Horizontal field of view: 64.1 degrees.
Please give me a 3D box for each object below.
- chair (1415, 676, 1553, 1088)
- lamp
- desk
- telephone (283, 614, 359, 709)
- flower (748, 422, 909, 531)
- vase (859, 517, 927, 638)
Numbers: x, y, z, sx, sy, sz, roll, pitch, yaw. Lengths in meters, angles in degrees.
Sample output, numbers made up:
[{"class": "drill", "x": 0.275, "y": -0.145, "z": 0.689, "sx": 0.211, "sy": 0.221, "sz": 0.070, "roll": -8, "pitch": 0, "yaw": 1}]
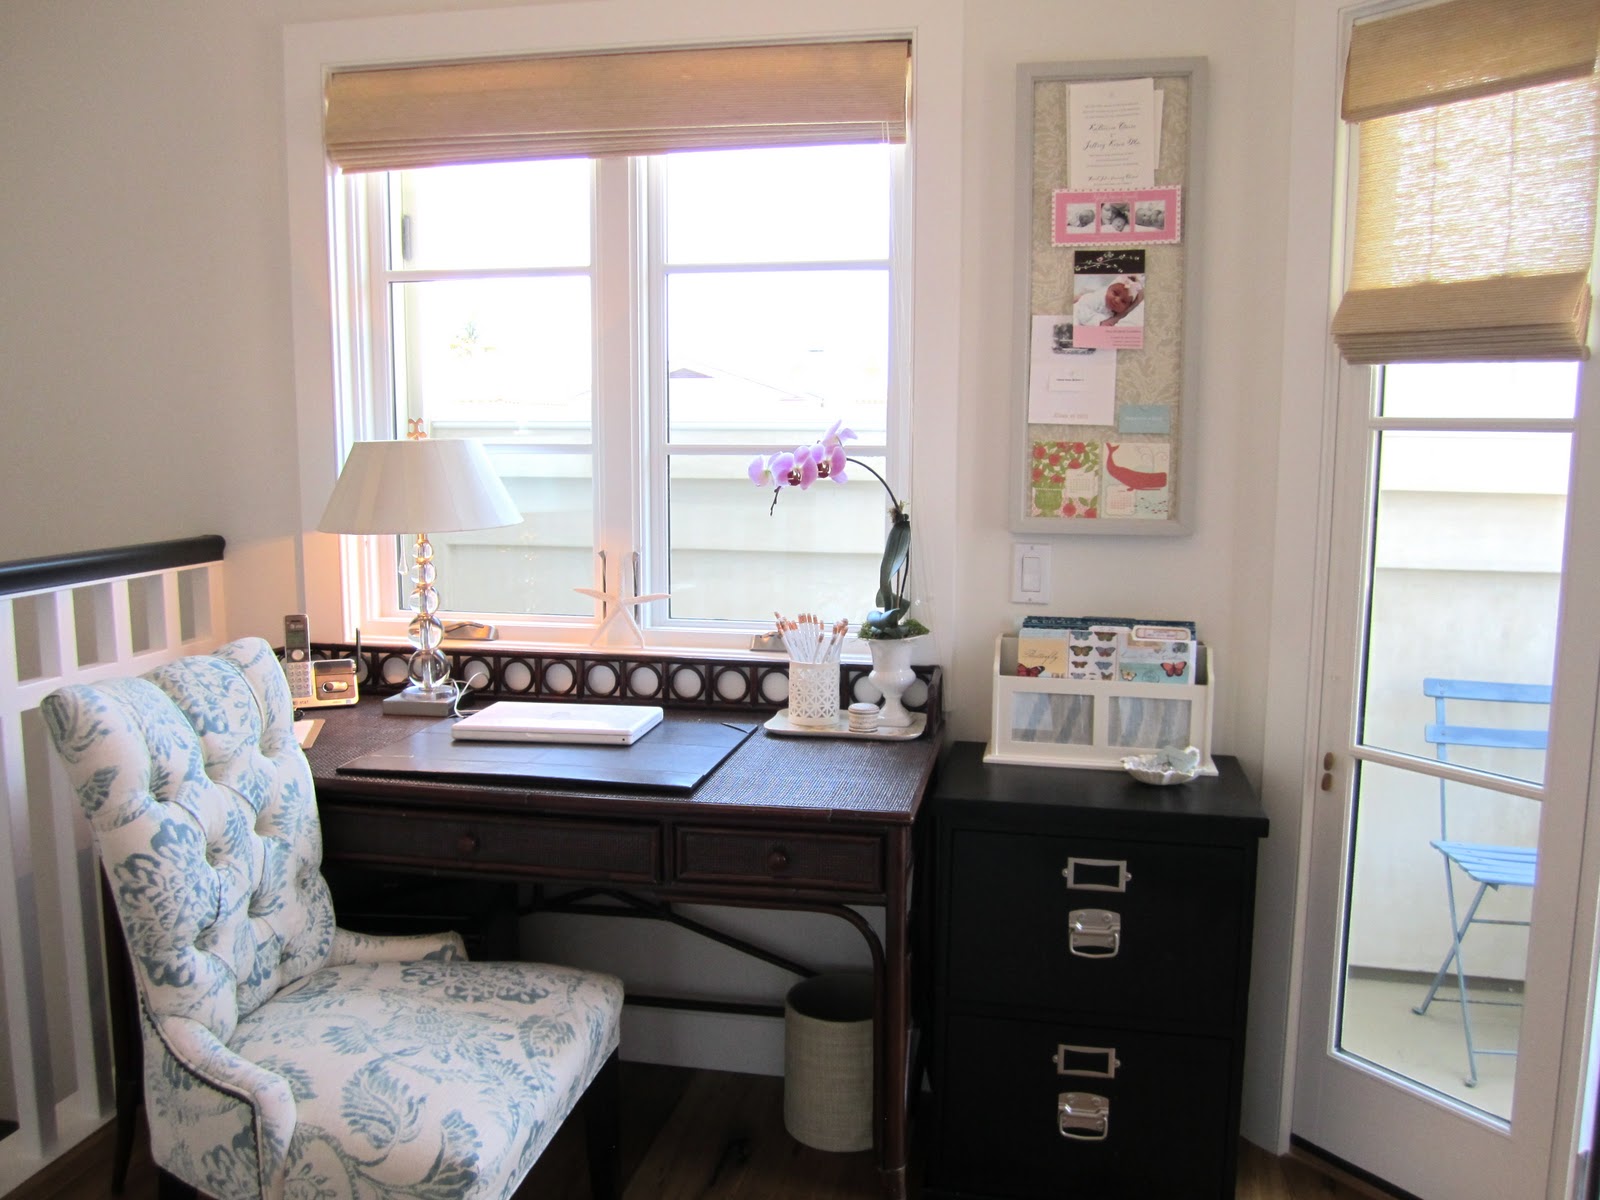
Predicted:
[{"class": "chair", "x": 1.369, "y": 0.574, "z": 2.598, "sx": 0.224, "sy": 0.837, "sz": 0.104, "roll": 4, "pitch": 10, "yaw": 34}, {"class": "lamp", "x": -0.902, "y": -0.036, "z": 3.048, "sx": 0.460, "sy": 0.624, "sz": 0.453, "roll": 0, "pitch": -5, "yaw": -13}, {"class": "desk", "x": -0.311, "y": 0.600, "z": 2.980, "sx": 1.841, "sy": 1.235, "sz": 0.831, "roll": 2, "pitch": 11, "yaw": 12}, {"class": "telephone", "x": -1.189, "y": 0.154, "z": 3.146, "sx": 0.187, "sy": 0.221, "sz": 0.094, "roll": -3, "pitch": 6, "yaw": -1}, {"class": "flower", "x": 0.096, "y": -0.294, "z": 2.961, "sx": 0.330, "sy": 0.182, "sz": 0.233, "roll": 5, "pitch": -6, "yaw": 6}, {"class": "vase", "x": 0.224, "y": -0.058, "z": 2.947, "sx": 0.126, "sy": 0.293, "sz": 0.194, "roll": 2, "pitch": 8, "yaw": 23}]
